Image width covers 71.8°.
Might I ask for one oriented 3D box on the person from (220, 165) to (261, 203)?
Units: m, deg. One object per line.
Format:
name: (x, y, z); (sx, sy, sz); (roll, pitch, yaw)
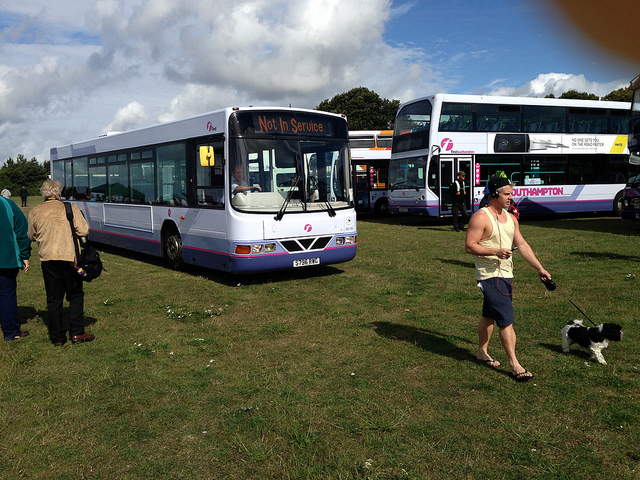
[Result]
person: (-1.824, -1.329, 9.804); (0.571, 1.131, 0.486); (6, 11, 28)

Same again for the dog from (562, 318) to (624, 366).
dog: (3.562, 1.329, 5.845); (0.260, 0.528, 0.780); (15, -6, -31)

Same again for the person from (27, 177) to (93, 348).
person: (-3.938, 0.361, 6.782); (0.838, 2.498, 0.477); (-1, 6, 2)

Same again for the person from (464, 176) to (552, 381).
person: (2.257, 0.422, 5.500); (0.811, 2.420, 0.814); (2, 7, 28)
